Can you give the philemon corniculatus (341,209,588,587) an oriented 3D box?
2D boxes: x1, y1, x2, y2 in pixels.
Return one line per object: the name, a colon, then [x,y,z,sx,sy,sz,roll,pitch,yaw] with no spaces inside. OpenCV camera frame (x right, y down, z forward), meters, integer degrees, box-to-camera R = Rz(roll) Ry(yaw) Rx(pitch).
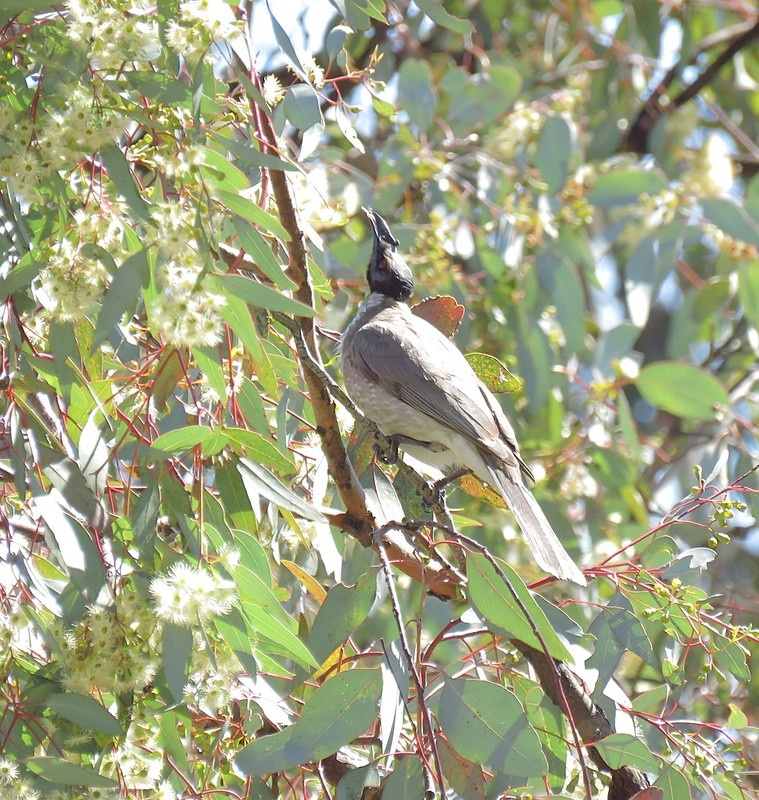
philemon corniculatus: [0.253,-0.021,3.511,1.066,0.352,0.731,22,95,31]
